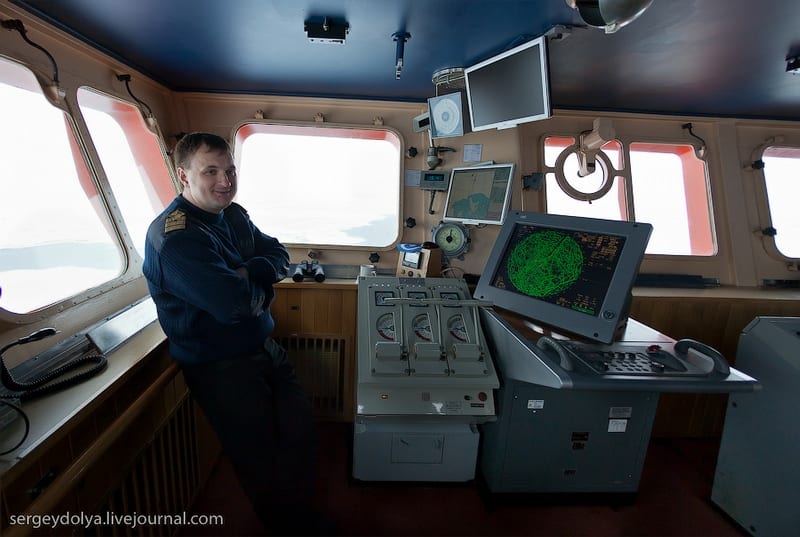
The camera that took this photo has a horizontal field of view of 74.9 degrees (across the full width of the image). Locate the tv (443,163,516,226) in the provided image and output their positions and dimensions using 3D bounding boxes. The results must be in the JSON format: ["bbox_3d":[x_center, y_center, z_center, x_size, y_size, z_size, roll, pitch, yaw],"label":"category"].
[{"bbox_3d":[0.622,-0.572,4.073,0.530,0.427,0.071,12,-1,36],"label":"tv"}]

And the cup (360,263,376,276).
[{"bbox_3d":[-0.261,0.010,4.076,0.093,0.060,0.090,2,5,0],"label":"cup"}]

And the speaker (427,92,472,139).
[{"bbox_3d":[0.385,-1.201,4.069,0.173,0.306,0.336,-25,17,-40],"label":"speaker"}]

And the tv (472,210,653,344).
[{"bbox_3d":[0.994,0.074,3.239,0.832,0.652,0.328,19,9,38],"label":"tv"}]

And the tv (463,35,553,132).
[{"bbox_3d":[0.745,-1.318,3.651,0.054,0.377,0.555,-34,22,-33],"label":"tv"}]

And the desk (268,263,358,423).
[{"bbox_3d":[-0.741,0.595,4.272,0.776,1.046,0.740,3,7,9],"label":"desk"}]

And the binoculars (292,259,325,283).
[{"bbox_3d":[-0.706,0.021,4.028,0.176,0.059,0.206,1,19,-7],"label":"binoculars"}]
